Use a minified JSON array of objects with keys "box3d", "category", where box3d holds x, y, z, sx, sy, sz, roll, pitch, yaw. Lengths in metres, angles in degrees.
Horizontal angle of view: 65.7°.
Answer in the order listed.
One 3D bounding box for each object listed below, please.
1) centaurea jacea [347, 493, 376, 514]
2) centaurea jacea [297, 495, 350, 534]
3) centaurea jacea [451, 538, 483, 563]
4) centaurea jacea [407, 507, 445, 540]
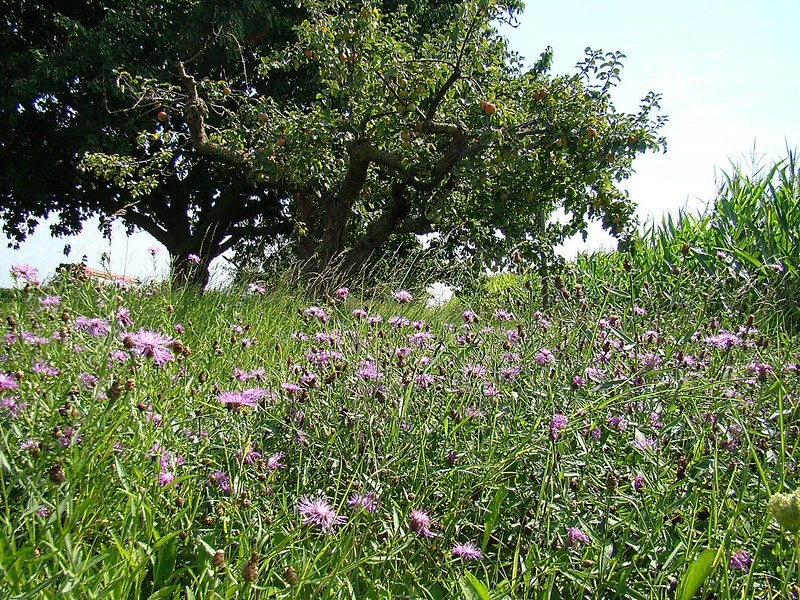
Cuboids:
[{"box3d":[-0.125,0.655,2.012,0.082,0.060,0.088,8,-6,-8],"category":"centaurea jacea"},{"box3d":[-0.253,0.630,1.920,0.133,0.056,0.137,34,-1,31],"category":"centaurea jacea"},{"box3d":[0.219,0.805,2.048,0.078,0.056,0.087,2,-16,25],"category":"centaurea jacea"},{"box3d":[0.078,0.670,1.925,0.111,0.087,0.098,-9,-46,21],"category":"centaurea jacea"}]
